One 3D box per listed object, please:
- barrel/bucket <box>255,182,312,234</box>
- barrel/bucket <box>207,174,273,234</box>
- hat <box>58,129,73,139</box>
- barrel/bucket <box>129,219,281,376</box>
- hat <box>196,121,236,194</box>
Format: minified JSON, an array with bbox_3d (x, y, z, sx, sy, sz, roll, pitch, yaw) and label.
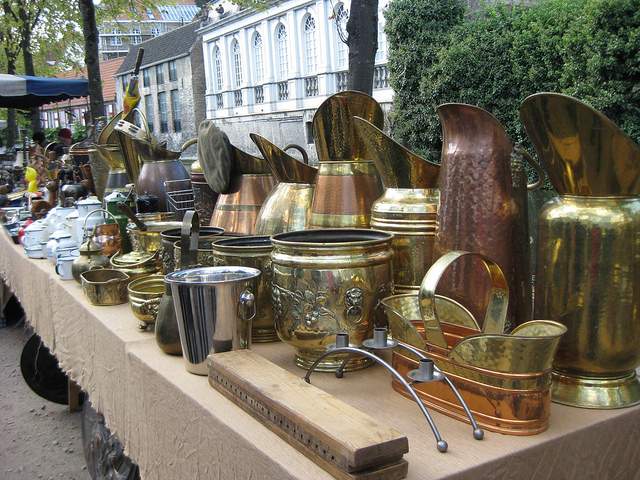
[{"bbox_3d":[-0.123,-0.095,1.838,0.181,0.182,0.171,4,1,0],"label":"barrel/bucket"},{"bbox_3d":[-0.299,-0.135,2.171,0.231,0.234,0.227,6,5,-1],"label":"barrel/bucket"},{"bbox_3d":[-5.328,-2.222,11.234,0.289,0.247,0.458,-1,16,-13],"label":"hat"},{"bbox_3d":[-0.279,0.129,1.339,0.272,0.383,0.376,-1,2,-22],"label":"barrel/bucket"},{"bbox_3d":[-0.397,-0.322,2.042,0.091,0.253,0.181,-13,0,-23],"label":"hat"}]
